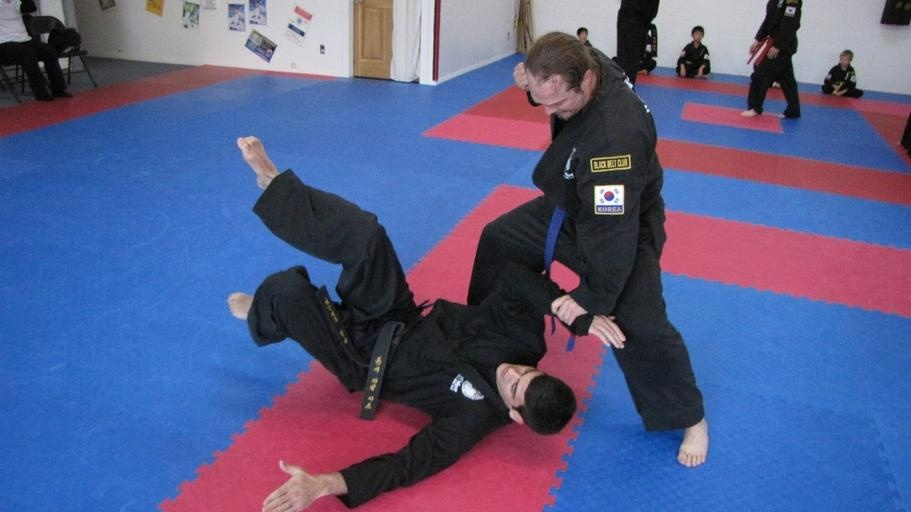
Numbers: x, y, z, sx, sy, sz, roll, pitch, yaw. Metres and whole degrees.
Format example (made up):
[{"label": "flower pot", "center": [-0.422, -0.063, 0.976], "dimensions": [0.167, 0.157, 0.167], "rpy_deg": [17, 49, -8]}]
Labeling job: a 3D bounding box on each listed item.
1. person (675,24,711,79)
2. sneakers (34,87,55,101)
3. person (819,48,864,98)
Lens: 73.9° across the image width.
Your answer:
[{"label": "person", "center": [5.550, -4.743, 14.106], "dimensions": [0.810, 1.125, 0.700], "rpy_deg": [-4, 28, 0]}, {"label": "sneakers", "center": [-6.786, -2.655, 9.946], "dimensions": [0.248, 0.201, 0.291], "rpy_deg": [-14, 30, -30]}, {"label": "person", "center": [8.408, -3.923, 13.162], "dimensions": [0.864, 0.924, 0.658], "rpy_deg": [6, 25, 23]}]
